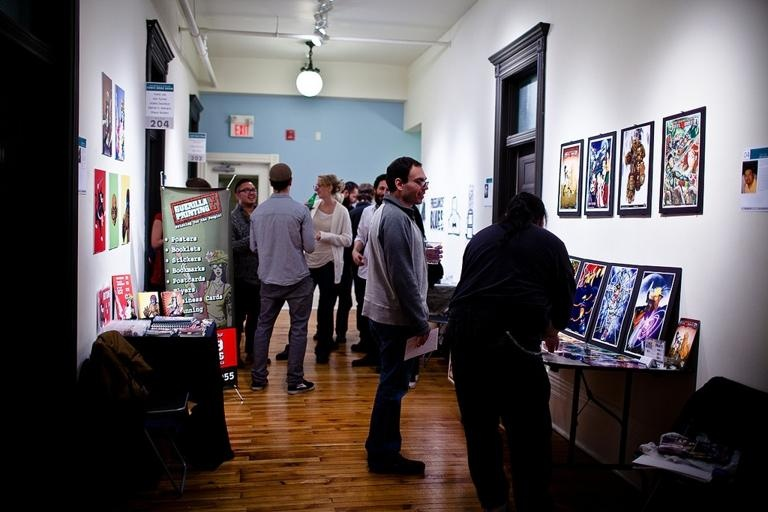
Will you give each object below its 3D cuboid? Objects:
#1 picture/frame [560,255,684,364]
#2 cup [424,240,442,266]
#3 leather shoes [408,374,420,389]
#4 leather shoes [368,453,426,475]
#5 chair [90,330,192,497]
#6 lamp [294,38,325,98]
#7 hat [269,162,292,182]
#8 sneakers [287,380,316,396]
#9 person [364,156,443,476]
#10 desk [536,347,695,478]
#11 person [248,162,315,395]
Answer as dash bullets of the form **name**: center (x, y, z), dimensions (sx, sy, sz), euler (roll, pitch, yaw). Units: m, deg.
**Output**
- **picture/frame**: center (1.709, 0.398, 3.730), dimensions (0.055, 0.502, 0.695), euler (12, -2, -22)
- **cup**: center (0.623, -0.026, 6.613), dimensions (0.267, 0.319, 0.309), euler (-1, -7, 10)
- **leather shoes**: center (0.304, 1.312, 5.470), dimensions (0.099, 0.114, 0.303), euler (0, -4, 6)
- **leather shoes**: center (0.085, 1.503, 3.858), dimensions (0.439, 0.195, 0.153), euler (0, 0, -6)
- **chair**: center (-1.615, 1.020, 3.455), dimensions (0.596, 1.050, 0.683), euler (-6, -7, -9)
- **lamp**: center (-1.413, -3.518, 9.889), dimensions (0.479, 1.059, 0.487), euler (9, 11, 33)
- **hat**: center (-1.001, -0.790, 5.025), dimensions (0.183, 0.165, 0.166), euler (1, 8, -4)
- **sneakers**: center (-0.821, 1.277, 5.146), dimensions (0.251, 0.120, 0.104), euler (-4, 7, -25)
- **person**: center (0.080, 0.446, 3.682), dimensions (0.468, 2.238, 0.417), euler (1, 7, -4)
- **desk**: center (1.612, 1.101, 3.969), dimensions (0.617, 0.562, 1.116), euler (-1, -9, 21)
- **person**: center (-0.985, 0.235, 5.007), dimensions (0.596, 2.182, 0.306), euler (0, 7, -8)
